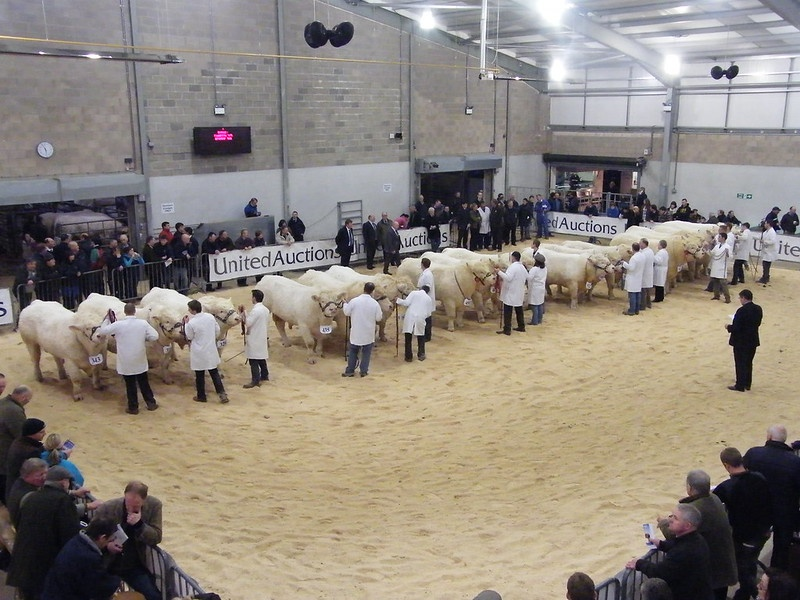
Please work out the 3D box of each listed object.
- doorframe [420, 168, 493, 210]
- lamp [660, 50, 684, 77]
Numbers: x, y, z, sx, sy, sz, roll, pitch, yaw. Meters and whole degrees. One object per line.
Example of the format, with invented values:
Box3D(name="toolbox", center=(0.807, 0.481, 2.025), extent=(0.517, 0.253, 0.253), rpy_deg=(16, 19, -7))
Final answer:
Box3D(name="doorframe", center=(2.318, -4.293, 32.518), extent=(2.932, 1.985, 1.621), rpy_deg=(-4, 12, -2))
Box3D(name="lamp", center=(9.572, -8.202, 28.197), extent=(0.527, 0.678, 0.812), rpy_deg=(2, 9, 24))
